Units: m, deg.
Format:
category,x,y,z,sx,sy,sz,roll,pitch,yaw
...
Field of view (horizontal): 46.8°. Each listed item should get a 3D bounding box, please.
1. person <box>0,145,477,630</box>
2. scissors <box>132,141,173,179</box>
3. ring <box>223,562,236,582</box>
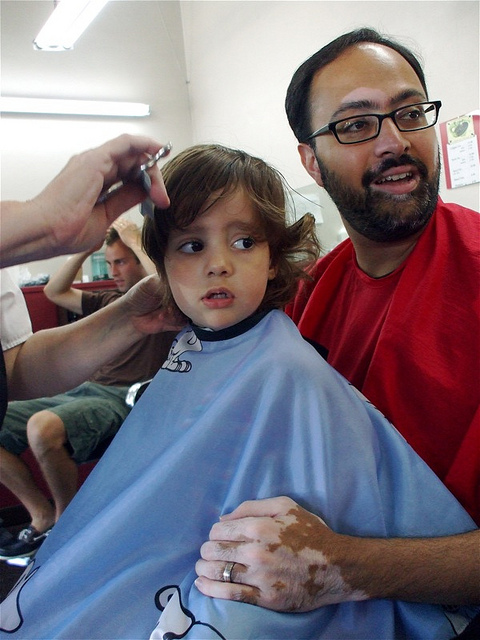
category,x,y,z,sx,sy,sz,roll,pitch,yaw
person,-0.110,0.168,1.348,0.945,0.899,0.923,-14,-17,22
scissors,-0.157,-0.284,0.993,0.061,0.047,0.118,-13,13,-17
ring,-0.017,0.357,0.786,0.023,0.021,0.022,0,21,0
